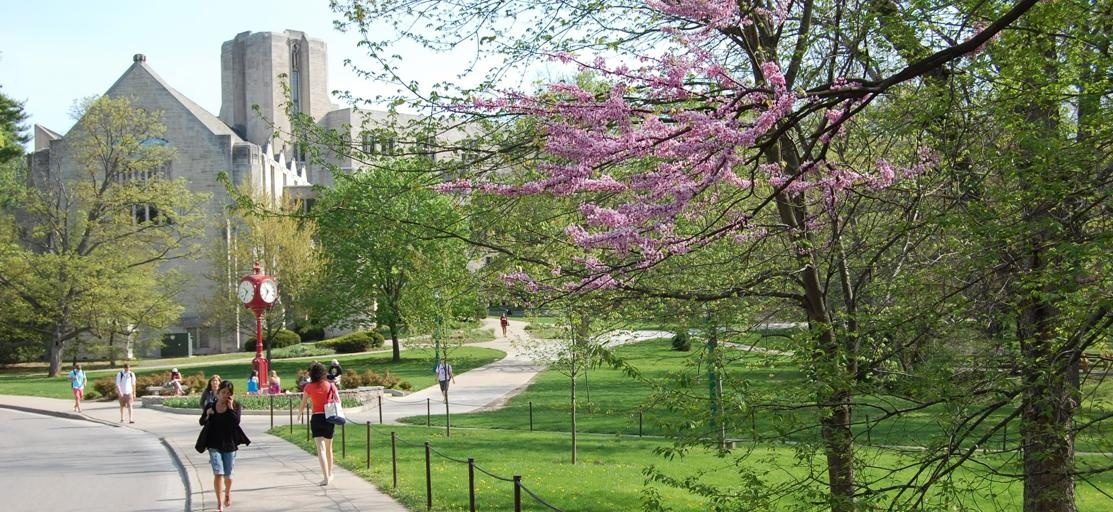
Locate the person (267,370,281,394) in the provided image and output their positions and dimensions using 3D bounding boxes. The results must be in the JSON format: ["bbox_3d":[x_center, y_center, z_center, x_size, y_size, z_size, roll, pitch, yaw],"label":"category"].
[{"bbox_3d":[-16.251,7.312,62.766,0.737,1.184,2.884,-1,-6,-14],"label":"person"}]

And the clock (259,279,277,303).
[{"bbox_3d":[-16.915,2.015,63.876,0.311,1.476,1.203,-4,-6,14],"label":"clock"}]

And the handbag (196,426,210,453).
[{"bbox_3d":[-15.521,8.048,47.613,0.542,1.166,1.689,0,-6,-18],"label":"handbag"}]

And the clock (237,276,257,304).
[{"bbox_3d":[-18.131,2.028,63.594,0.367,1.434,1.229,3,-8,-44],"label":"clock"}]

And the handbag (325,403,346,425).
[{"bbox_3d":[-9.882,7.000,48.545,0.773,0.978,0.415,0,-6,-22],"label":"handbag"}]

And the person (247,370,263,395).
[{"bbox_3d":[-17.577,7.319,63.341,0.672,1.328,1.610,-1,-6,-13],"label":"person"}]
